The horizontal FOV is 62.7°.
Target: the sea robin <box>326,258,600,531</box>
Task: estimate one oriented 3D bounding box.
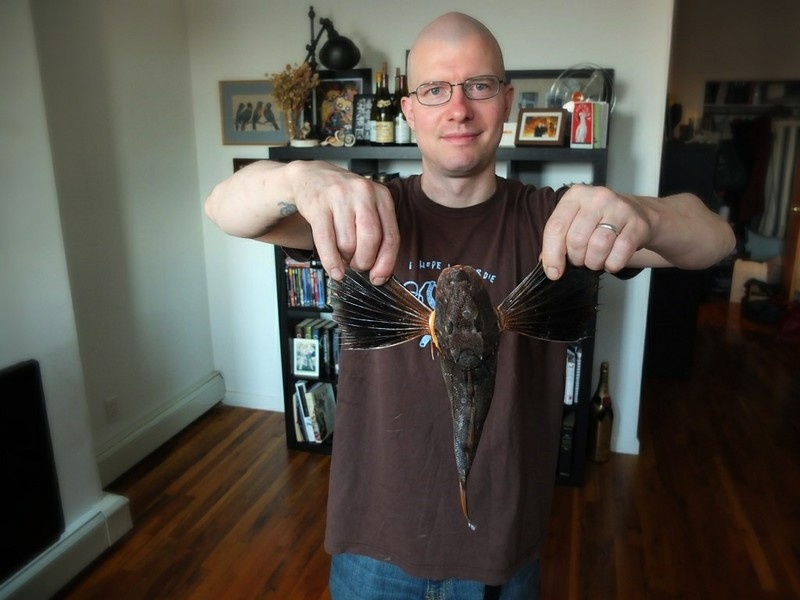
[{"bbox_3d":[0.206,0.228,1.985,0.824,0.871,0.242,-4,-17,4],"label":"sea robin"}]

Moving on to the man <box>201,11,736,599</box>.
[{"bbox_3d":[0.183,0.175,2.765,1.568,2.097,0.721,3,1,2],"label":"man"}]

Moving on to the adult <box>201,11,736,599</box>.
[{"bbox_3d":[0.175,0.165,2.767,1.568,2.097,0.721,3,1,2],"label":"adult"}]

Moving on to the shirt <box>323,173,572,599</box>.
[{"bbox_3d":[0.202,0.255,2.505,0.665,1.433,0.313,3,1,2],"label":"shirt"}]
